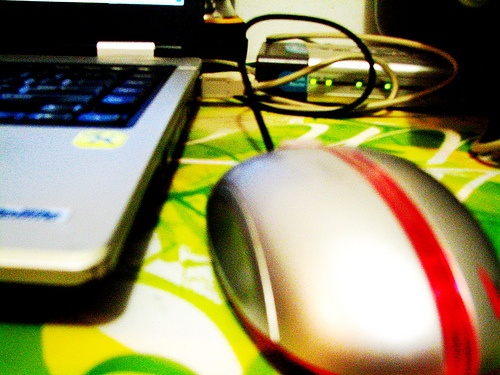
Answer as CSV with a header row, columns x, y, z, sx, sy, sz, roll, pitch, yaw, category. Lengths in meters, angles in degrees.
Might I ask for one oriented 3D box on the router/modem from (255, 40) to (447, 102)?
x,y,z,sx,sy,sz,roll,pitch,yaw,category
0.142,-0.179,0.624,0.276,0.067,0.157,13,44,13,router/modem
